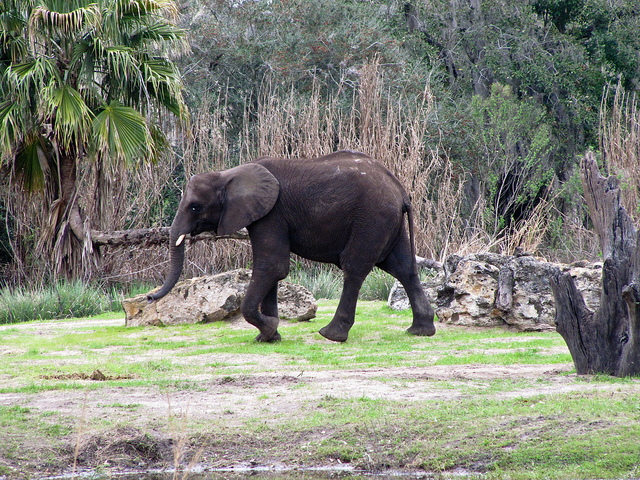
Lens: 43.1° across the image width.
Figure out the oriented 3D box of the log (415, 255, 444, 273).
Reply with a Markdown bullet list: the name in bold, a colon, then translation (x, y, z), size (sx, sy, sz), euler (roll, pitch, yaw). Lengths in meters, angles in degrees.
- **log**: translation (2.118, 0.452, 15.615), size (0.706, 0.329, 0.289), euler (6, 7, -2)

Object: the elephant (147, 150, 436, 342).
- **elephant**: translation (-0.417, 0.142, 12.470), size (4.283, 3.231, 1.517), euler (0, 10, -3)
